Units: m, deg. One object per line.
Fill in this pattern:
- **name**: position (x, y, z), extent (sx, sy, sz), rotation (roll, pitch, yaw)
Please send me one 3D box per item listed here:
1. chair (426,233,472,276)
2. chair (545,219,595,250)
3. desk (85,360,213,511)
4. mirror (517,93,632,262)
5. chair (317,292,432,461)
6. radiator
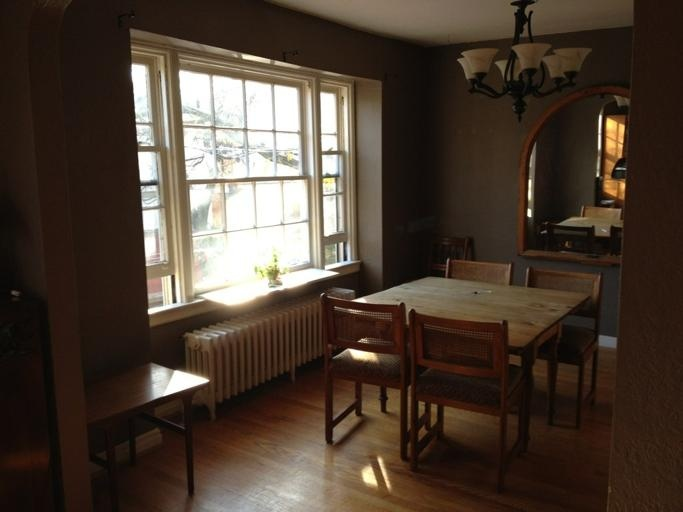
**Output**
- **chair**: position (1.055, -0.015, 5.473), extent (0.344, 0.666, 0.394), rotation (2, 0, 21)
- **chair**: position (1.973, -0.237, 4.801), extent (0.305, 0.273, 0.239), rotation (9, 22, 44)
- **desk**: position (-0.980, 0.882, 2.773), extent (0.575, 0.545, 0.587), rotation (-8, 12, -35)
- **mirror**: position (2.047, -0.655, 4.790), extent (1.024, 1.490, 0.047), rotation (2, 19, 11)
- **chair**: position (0.195, 0.600, 3.254), extent (0.502, 0.925, 0.577), rotation (5, 12, 24)
- **radiator**: position (-0.441, 0.625, 3.999), extent (0.241, 0.620, 1.386), rotation (-2, 6, 36)
